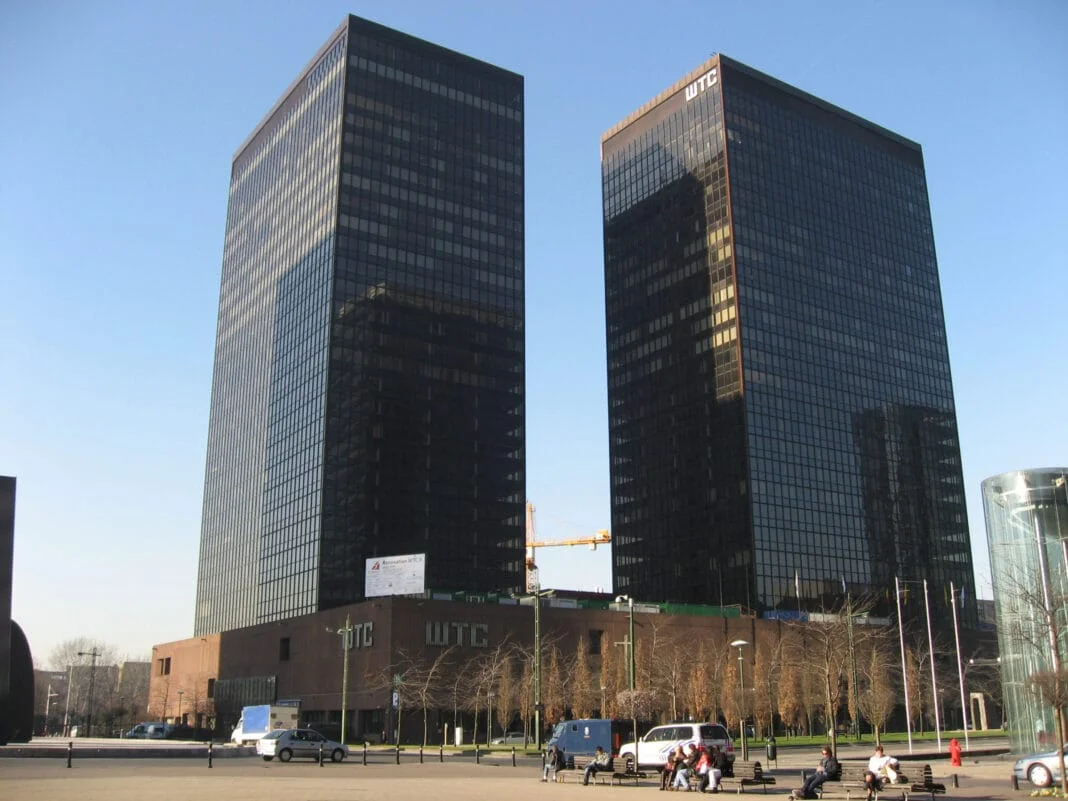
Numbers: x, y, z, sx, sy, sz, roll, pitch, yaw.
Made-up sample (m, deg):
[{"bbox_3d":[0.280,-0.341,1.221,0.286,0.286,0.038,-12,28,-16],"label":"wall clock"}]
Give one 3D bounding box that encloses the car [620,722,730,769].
[{"bbox_3d":[8.854,21.416,65.145,6.160,2.884,3.660,-2,-16,16],"label":"car"}]
